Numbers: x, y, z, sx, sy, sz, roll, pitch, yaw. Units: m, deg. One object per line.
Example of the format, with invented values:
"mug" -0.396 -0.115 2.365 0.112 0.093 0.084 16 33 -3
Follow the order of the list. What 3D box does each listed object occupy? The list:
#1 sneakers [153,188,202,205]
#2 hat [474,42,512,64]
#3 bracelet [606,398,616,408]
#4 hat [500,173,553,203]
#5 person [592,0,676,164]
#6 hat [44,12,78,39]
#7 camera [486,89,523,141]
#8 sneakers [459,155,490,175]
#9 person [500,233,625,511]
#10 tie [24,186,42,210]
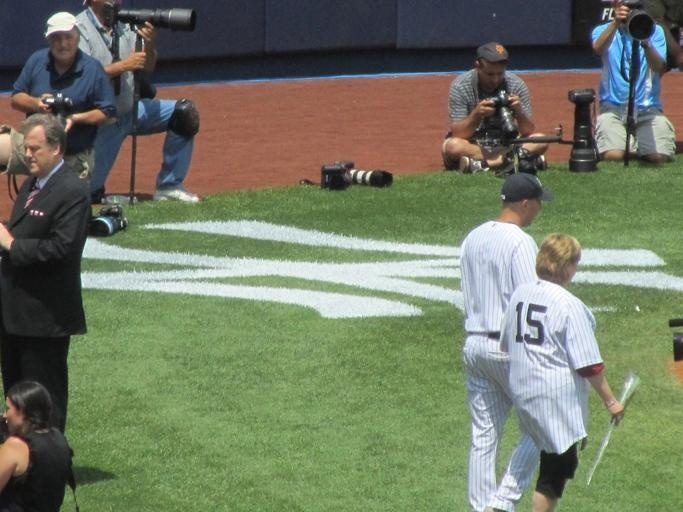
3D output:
"sneakers" -2.173 -0.831 19.295 0.553 0.265 0.237 1 9 9
"hat" 1.914 -2.612 18.636 0.278 0.224 0.404 -3 7 -16
"bracelet" 2.353 1.276 12.670 0.118 0.075 0.032 -5 -34 -20
"hat" 1.663 -0.613 13.013 0.351 0.205 0.256 -6 19 -11
"person" 3.894 -2.321 19.272 1.111 2.135 1.517 1 7 10
"hat" -3.180 -2.657 16.564 0.339 0.283 0.260 -2 8 -14
"camera" 2.110 -1.859 18.648 0.352 0.649 0.307 -7 -25 3
"sneakers" 1.774 -1.233 19.401 0.407 0.192 0.193 -7 2 -16
"person" 1.876 1.033 12.730 0.936 2.433 0.449 1 7 5
"tie" -2.816 -0.543 13.378 0.055 0.219 0.042 11 -25 47
